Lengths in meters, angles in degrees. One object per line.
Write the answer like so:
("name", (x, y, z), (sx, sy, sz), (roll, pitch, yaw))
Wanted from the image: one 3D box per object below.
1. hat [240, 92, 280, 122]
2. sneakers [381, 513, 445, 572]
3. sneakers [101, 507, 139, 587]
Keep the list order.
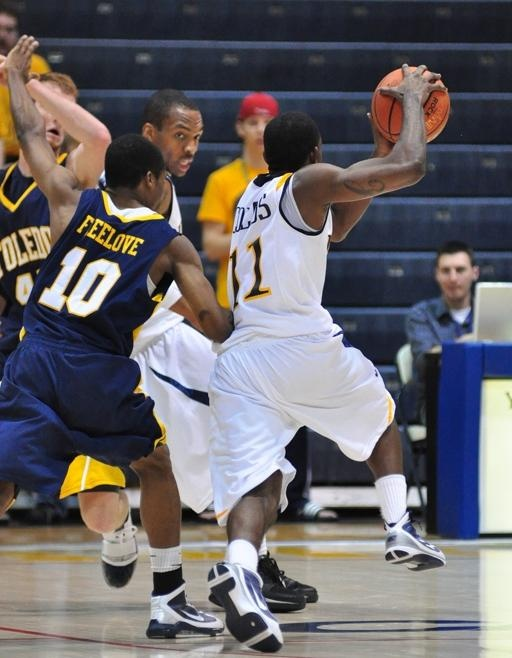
("hat", (0.012, -1.215, 5.584), (0.269, 0.195, 0.186), (2, 7, 2))
("sneakers", (0.429, 0.543, 2.779), (0.193, 0.116, 0.078), (1, -8, -41))
("sneakers", (-0.413, 0.673, 3.149), (0.096, 0.228, 0.109), (-4, 16, 2))
